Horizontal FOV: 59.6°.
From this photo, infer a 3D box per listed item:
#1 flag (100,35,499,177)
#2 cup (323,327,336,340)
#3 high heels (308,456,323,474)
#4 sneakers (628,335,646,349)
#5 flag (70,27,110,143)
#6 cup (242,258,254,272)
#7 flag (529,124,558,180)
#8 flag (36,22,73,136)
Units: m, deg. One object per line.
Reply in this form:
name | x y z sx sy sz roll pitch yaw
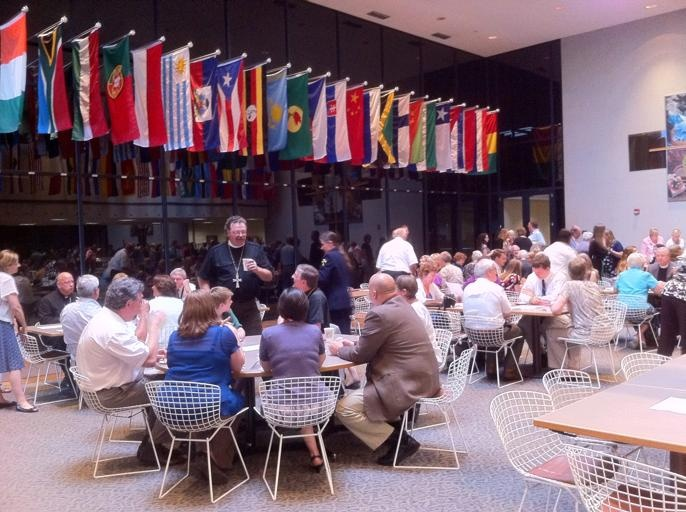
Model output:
flag | -0.321 -2.648 11.664 8.390 2.160 0.588 -9 7 -41
cup | -0.153 0.900 6.928 0.098 0.114 0.106 -1 -9 0
high heels | -0.264 2.055 5.984 0.100 0.214 0.084 -1 0 -1
sneakers | 4.965 1.470 10.213 0.156 0.210 0.452 -2 0 33
flag | -3.720 -2.484 8.751 0.492 1.582 0.433 -4 5 -14
cup | -1.133 0.109 7.196 0.133 0.121 0.146 0 -8 0
flag | 5.540 -2.811 16.575 0.685 1.485 0.263 -1 5 22
flag | -4.106 -2.496 8.463 0.425 1.506 0.297 -5 5 -20
